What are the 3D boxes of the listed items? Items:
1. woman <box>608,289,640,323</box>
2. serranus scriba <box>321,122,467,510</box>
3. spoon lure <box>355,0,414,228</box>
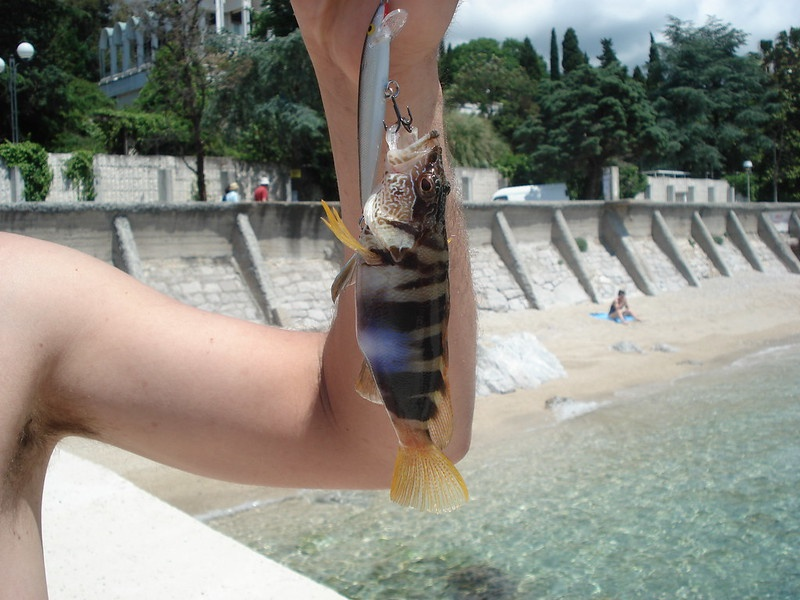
[{"bbox_3d":[4.601,0.123,15.189,0.511,0.597,1.028,4,8,34],"label":"woman"},{"bbox_3d":[0.011,0.024,1.454,0.224,0.717,0.298,0,5,8],"label":"serranus scriba"},{"bbox_3d":[-0.030,-0.374,1.345,0.057,0.499,0.064,-6,-24,23],"label":"spoon lure"}]
